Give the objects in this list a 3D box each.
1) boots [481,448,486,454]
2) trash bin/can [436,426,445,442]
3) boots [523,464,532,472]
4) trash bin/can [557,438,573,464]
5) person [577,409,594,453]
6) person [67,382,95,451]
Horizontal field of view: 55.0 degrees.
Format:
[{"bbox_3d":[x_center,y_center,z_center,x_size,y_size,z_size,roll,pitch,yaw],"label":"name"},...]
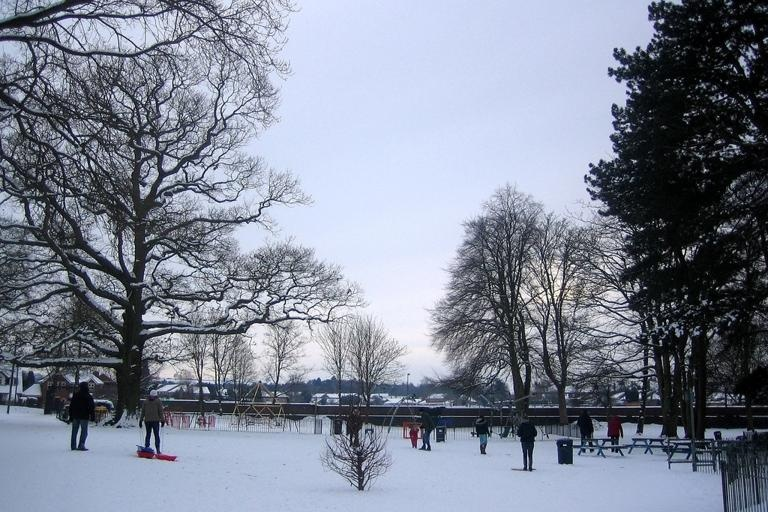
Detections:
[{"bbox_3d":[4.881,9.674,36.409,0.244,0.448,0.248,-1,-3,4],"label":"boots"},{"bbox_3d":[3.379,11.007,45.536,0.608,1.233,0.682,-1,-4,16],"label":"trash bin/can"},{"bbox_3d":[5.771,8.507,29.683,0.360,0.233,0.613,-3,-16,11],"label":"boots"},{"bbox_3d":[7.881,8.534,32.262,0.626,1.125,0.797,-3,-14,12],"label":"trash bin/can"},{"bbox_3d":[11.104,9.561,40.808,0.731,2.502,0.683,1,17,24],"label":"person"},{"bbox_3d":[-11.042,5.797,26.869,0.792,2.599,0.540,7,3,-17],"label":"person"}]
